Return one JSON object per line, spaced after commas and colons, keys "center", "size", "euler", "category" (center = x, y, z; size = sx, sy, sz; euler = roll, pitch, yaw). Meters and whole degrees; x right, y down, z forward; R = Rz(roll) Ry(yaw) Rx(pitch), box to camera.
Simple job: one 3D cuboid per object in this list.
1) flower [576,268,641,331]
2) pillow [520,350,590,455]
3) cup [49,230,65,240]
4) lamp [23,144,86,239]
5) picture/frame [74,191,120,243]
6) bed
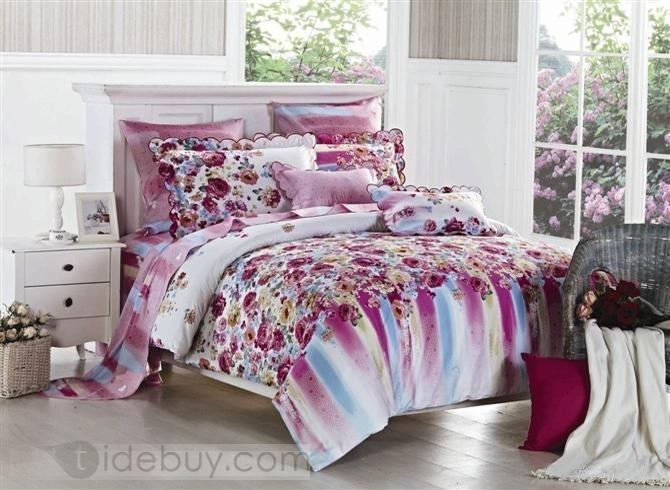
{"center": [1.213, 0.235, 2.643], "size": [0.239, 0.228, 0.263], "euler": [3, 5, 28], "category": "flower"}
{"center": [0.882, 0.637, 2.405], "size": [0.361, 0.332, 0.114], "euler": [-2, -4, 19], "category": "pillow"}
{"center": [-1.632, -0.053, 3.480], "size": [0.072, 0.045, 0.066], "euler": [0, 2, 0], "category": "cup"}
{"center": [-1.685, -0.314, 3.587], "size": [0.351, 0.584, 0.313], "euler": [4, 6, 31], "category": "lamp"}
{"center": [-1.441, -0.158, 3.594], "size": [0.350, 0.369, 0.030], "euler": [-6, -13, -31], "category": "picture/frame"}
{"center": [-0.998, -0.114, 4.790], "size": [2.577, 1.667, 2.426], "euler": [-5, 7, -37], "category": "bed"}
